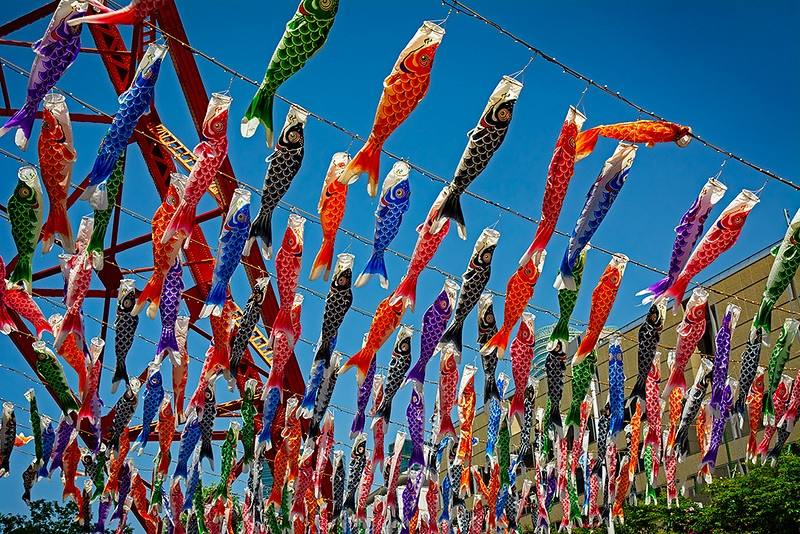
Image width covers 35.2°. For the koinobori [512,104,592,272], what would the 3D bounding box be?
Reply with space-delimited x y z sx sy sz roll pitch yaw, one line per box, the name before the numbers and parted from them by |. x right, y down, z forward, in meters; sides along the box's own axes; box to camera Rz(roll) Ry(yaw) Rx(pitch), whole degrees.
koinobori | 3.327 -1.792 26.840 0.692 2.808 1.864 10 -25 -30

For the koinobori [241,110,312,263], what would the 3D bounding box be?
koinobori | -2.373 -1.596 23.834 1.156 2.974 0.805 21 7 41

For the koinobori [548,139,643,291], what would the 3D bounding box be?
koinobori | 3.574 -1.287 24.342 0.601 2.927 1.209 25 12 8

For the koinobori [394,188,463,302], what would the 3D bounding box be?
koinobori | 0.518 -0.605 24.400 0.532 2.214 1.004 20 18 -13

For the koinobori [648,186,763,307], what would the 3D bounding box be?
koinobori | 6.894 -0.243 27.858 0.659 2.943 1.269 36 4 -41

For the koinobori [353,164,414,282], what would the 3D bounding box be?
koinobori | -0.264 -1.110 23.821 0.670 2.343 1.127 14 1 12

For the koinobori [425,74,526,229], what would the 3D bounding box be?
koinobori | 1.481 -2.198 23.268 0.834 3.227 1.328 22 4 -15

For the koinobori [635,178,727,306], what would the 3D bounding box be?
koinobori | 5.939 -0.304 25.574 1.363 2.837 0.693 36 -1 -26
